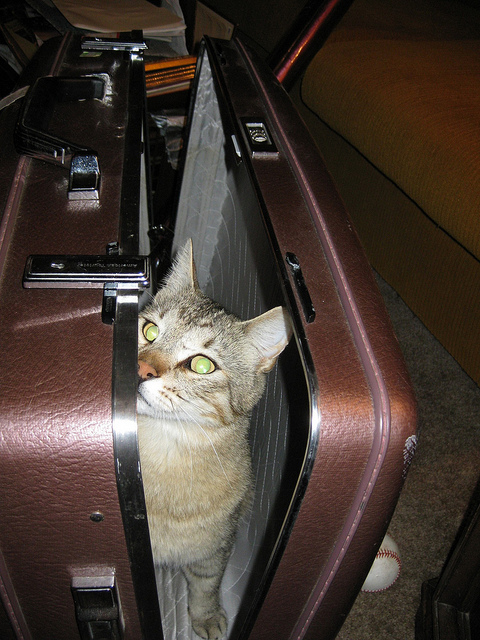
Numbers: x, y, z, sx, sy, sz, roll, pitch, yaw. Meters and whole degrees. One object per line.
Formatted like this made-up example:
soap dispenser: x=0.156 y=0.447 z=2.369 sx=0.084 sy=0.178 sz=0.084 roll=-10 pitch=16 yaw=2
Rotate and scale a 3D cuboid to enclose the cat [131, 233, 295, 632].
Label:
cat: x=-0.011 y=0.086 z=0.440 sx=0.102 sy=0.247 sz=0.333 roll=9 pitch=57 yaw=-16
